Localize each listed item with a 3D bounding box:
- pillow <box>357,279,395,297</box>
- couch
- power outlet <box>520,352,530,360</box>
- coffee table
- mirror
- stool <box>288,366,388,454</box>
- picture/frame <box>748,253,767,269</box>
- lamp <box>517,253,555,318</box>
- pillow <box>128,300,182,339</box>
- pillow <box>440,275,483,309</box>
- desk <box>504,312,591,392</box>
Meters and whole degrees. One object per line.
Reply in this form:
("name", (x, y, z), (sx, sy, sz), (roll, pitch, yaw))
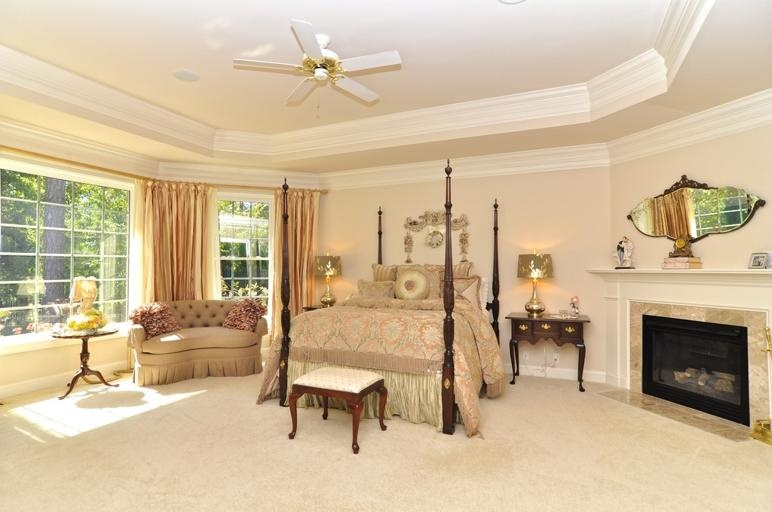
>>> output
("pillow", (-0.127, 0.496, 7.443), (0.390, 0.256, 0.112), (0, -25, 6))
("couch", (-2.805, 1.214, 7.456), (1.924, 0.953, 0.957), (-1, 8, -27))
("power outlet", (2.134, 1.523, 7.589), (0.133, 0.117, 0.042), (8, -4, 27))
("coffee table", (-4.016, 1.416, 6.667), (0.762, 0.769, 0.782), (-3, -10, -40))
("mirror", (3.897, -0.497, 6.320), (0.349, 1.004, 1.412), (-6, 13, -27))
("stool", (-0.494, 1.637, 5.549), (0.934, 0.688, 0.801), (4, 12, 21))
("picture/frame", (4.246, 0.058, 5.670), (0.019, 0.138, 0.174), (16, -14, -22))
("lamp", (2.193, 0.425, 7.322), (0.524, 0.881, 0.691), (3, 13, 15))
("pillow", (-3.381, 0.857, 7.293), (0.849, 0.206, 0.754), (16, 16, 7))
("pillow", (1.201, 0.477, 7.168), (0.507, 0.484, 0.243), (4, -46, 5))
("desk", (2.354, 1.361, 7.254), (1.147, 0.987, 0.795), (0, -2, 18))
